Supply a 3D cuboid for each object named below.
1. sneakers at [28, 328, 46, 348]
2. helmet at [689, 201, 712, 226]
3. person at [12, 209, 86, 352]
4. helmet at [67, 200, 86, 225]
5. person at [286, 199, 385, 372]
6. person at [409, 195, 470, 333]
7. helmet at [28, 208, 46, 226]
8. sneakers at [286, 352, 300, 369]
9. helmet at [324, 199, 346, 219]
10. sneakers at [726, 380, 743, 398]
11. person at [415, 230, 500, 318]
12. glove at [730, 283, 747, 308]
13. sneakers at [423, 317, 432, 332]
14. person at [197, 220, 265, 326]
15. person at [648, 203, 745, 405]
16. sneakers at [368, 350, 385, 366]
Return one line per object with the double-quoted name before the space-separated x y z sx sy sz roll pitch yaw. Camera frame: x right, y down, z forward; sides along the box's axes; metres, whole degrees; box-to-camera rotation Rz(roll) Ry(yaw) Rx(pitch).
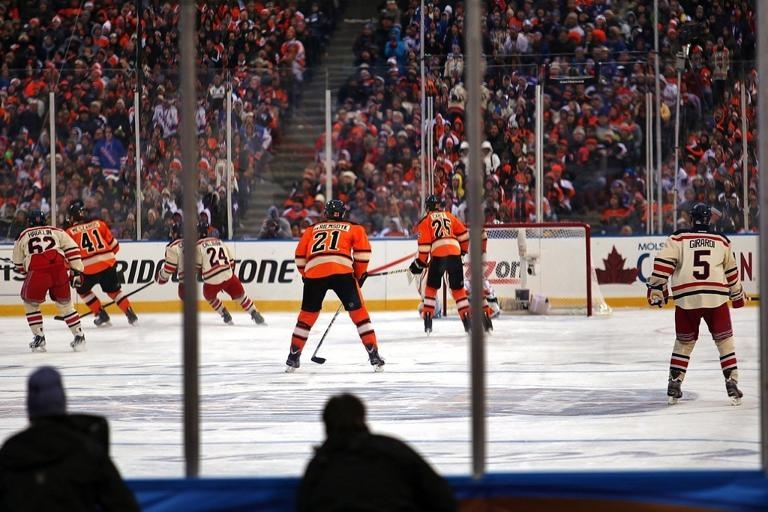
"sneakers" -5.492 1.310 19.839 0.241 0.310 0.229 -3 1 -19
"helmet" 4.200 -0.561 17.014 0.355 0.401 0.394 2 11 10
"person" -5.342 0.356 19.949 1.042 2.242 0.563 -3 1 -15
"helmet" -5.389 -0.762 21.946 0.345 0.466 0.459 1 -15 -11
"person" -0.773 0.396 18.476 1.372 2.329 0.713 -3 1 -4
"person" 0.902 0.128 20.819 0.926 2.058 0.804 -3 1 3
"helmet" -5.564 -0.614 20.063 0.231 0.282 0.448 -3 1 -19
"sneakers" -1.342 1.491 18.241 0.235 0.293 0.162 4 0 11
"helmet" -0.753 -0.703 18.727 0.253 0.317 0.323 0 10 -4
"sneakers" 4.634 1.745 16.729 0.243 0.200 0.164 -3 1 -36
"person" 1.500 0.381 22.508 1.543 1.564 0.533 4 6 0
"glove" 4.706 0.550 16.938 0.259 0.368 0.130 0 -13 -3
"sneakers" 0.680 1.122 20.779 0.089 0.276 0.117 -5 -18 15
"person" -2.785 0.406 21.965 0.955 1.676 0.493 -3 1 -10
"person" 4.156 0.624 16.886 1.216 2.236 0.470 -2 1 14
"sneakers" -0.137 1.461 18.311 0.205 0.263 0.279 -3 1 3
